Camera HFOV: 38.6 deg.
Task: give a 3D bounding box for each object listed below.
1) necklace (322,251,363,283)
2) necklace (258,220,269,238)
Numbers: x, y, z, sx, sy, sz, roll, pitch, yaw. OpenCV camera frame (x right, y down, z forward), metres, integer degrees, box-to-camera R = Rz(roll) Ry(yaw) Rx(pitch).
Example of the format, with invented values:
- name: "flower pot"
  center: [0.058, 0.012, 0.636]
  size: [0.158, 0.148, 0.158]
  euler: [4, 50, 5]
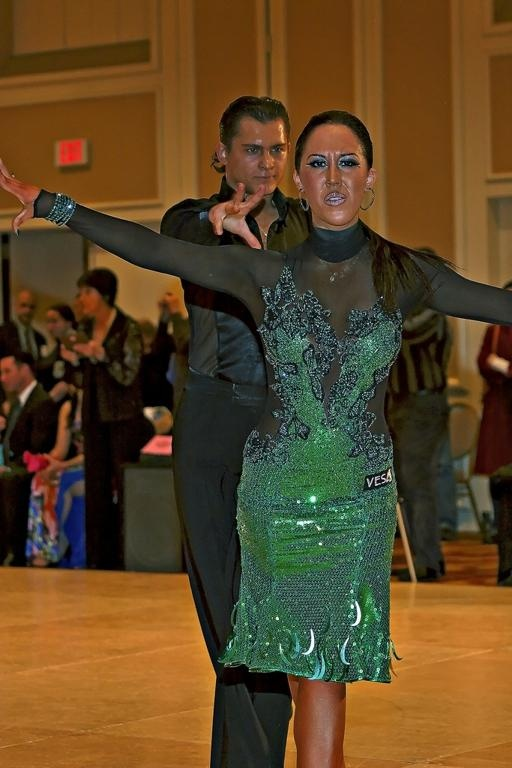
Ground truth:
- name: "necklace"
  center: [0.127, -0.167, 1.080]
  size: [0.036, 0.032, 0.043]
  euler: [-10, 15, -25]
- name: "necklace"
  center: [0.023, -0.357, 1.692]
  size: [0.029, 0.034, 0.009]
  euler: [-3, -3, -6]
